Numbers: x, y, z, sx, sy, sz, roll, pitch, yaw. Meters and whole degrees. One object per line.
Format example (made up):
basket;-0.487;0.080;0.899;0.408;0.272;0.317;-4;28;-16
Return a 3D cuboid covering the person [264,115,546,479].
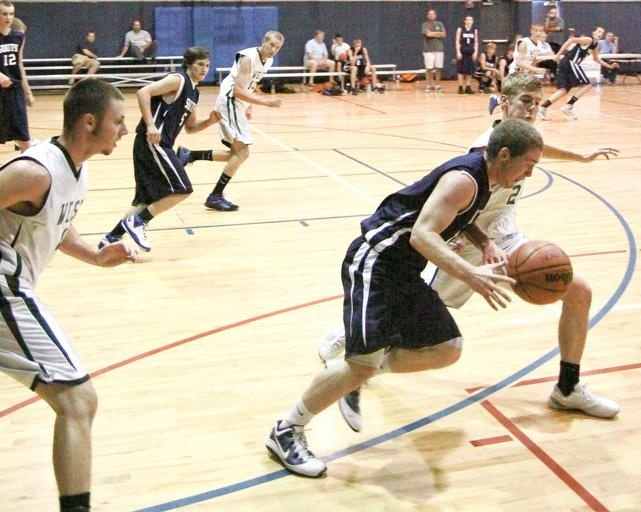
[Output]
person;0.321;0.268;2.728;0.955;1.413;0.473;5;15;13

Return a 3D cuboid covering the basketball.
basketball;1.001;0.080;2.915;0.326;0.319;0.291;-5;29;17

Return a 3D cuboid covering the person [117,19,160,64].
person;-5.127;-6.032;17.680;1.349;1.052;0.699;-11;23;-14

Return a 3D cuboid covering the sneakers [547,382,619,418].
sneakers;1.345;0.746;3.242;0.410;0.136;0.130;2;3;11

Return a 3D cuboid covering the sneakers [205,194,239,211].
sneakers;-1.079;-0.576;6.825;0.389;0.137;0.161;8;17;-4
